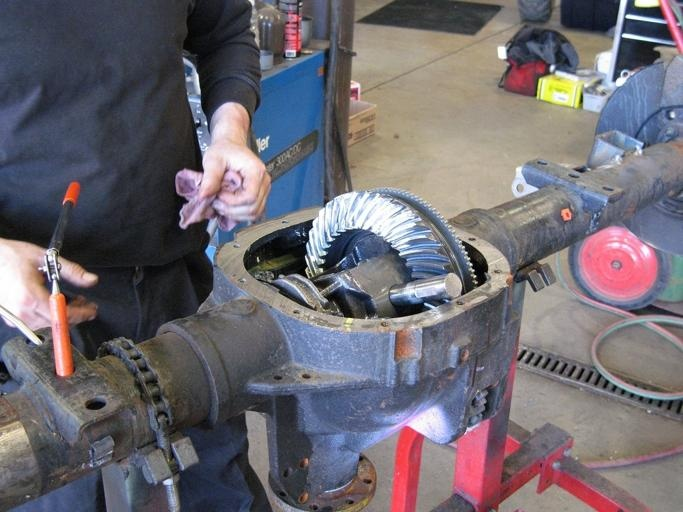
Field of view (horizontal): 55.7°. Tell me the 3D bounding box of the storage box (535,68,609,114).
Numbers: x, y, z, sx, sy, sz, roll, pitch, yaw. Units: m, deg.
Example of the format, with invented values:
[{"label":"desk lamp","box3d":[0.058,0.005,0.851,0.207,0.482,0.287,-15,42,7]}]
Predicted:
[{"label":"storage box","box3d":[2.150,-1.549,5.998,0.675,0.309,0.361,19,33,22]}]
